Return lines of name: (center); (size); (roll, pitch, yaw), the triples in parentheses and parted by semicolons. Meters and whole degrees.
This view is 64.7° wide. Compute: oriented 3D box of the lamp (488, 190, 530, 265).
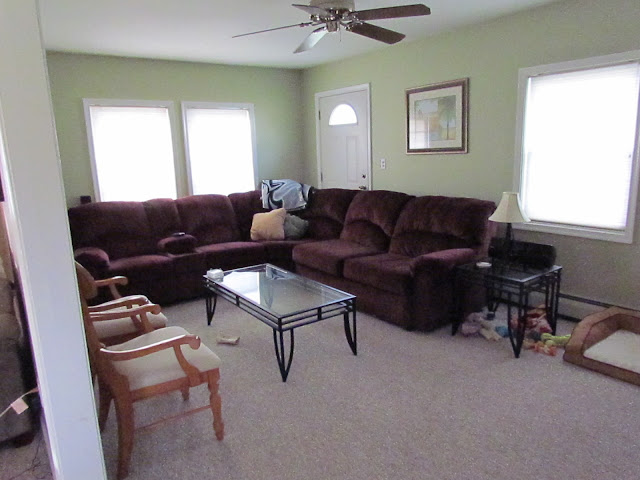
lamp: (1.610, -0.140, 4.314); (0.283, 0.564, 0.569); (2, 13, 21)

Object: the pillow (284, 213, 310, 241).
pillow: (-0.289, -0.150, 5.775); (0.284, 0.284, 0.106); (16, -29, -12)

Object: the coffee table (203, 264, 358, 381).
coffee table: (-0.327, 0.577, 4.074); (0.767, 0.588, 1.297); (-11, 14, -33)

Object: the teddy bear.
teddy bear: (1.569, 0.729, 4.010); (0.534, 0.164, 0.438); (-2, 6, -16)

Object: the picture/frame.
picture/frame: (1.234, -1.296, 5.191); (0.047, 0.762, 0.903); (-2, 3, -37)

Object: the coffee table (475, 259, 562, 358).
coffee table: (1.561, 0.503, 4.031); (0.687, 0.587, 0.442); (-13, 16, -38)
